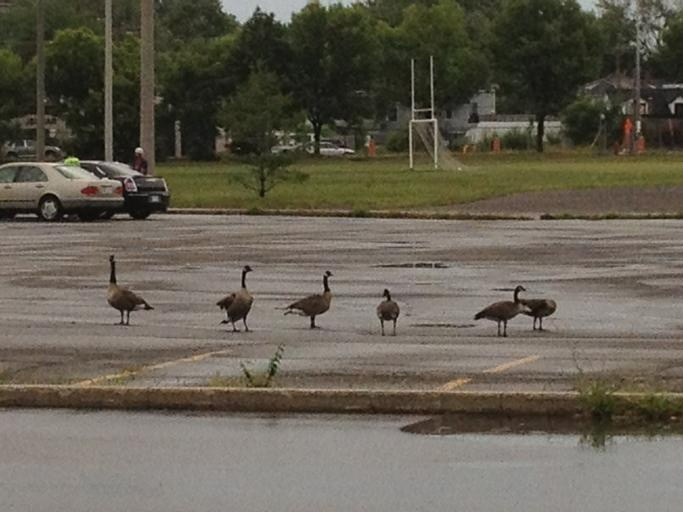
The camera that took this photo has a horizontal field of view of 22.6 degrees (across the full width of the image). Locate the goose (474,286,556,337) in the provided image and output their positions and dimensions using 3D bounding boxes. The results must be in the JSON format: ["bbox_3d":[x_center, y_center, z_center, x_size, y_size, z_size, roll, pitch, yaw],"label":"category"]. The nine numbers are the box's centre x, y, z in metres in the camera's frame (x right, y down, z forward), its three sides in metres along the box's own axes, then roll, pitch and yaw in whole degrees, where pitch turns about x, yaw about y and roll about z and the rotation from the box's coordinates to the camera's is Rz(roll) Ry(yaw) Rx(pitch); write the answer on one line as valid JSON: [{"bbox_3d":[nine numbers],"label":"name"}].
[{"bbox_3d":[6.354,2.004,63.322,3.040,1.824,1.736,-1,4,-6],"label":"goose"}]

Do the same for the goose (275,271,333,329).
[{"bbox_3d":[-1.199,1.746,63.617,1.553,2.220,2.523,0,5,-6],"label":"goose"}]

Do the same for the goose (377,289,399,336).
[{"bbox_3d":[1.730,2.072,63.480,0.846,1.642,2.017,-1,4,2],"label":"goose"}]

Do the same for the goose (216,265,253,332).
[{"bbox_3d":[-3.769,1.713,63.415,1.723,2.442,1.332,0,9,-26],"label":"goose"}]
